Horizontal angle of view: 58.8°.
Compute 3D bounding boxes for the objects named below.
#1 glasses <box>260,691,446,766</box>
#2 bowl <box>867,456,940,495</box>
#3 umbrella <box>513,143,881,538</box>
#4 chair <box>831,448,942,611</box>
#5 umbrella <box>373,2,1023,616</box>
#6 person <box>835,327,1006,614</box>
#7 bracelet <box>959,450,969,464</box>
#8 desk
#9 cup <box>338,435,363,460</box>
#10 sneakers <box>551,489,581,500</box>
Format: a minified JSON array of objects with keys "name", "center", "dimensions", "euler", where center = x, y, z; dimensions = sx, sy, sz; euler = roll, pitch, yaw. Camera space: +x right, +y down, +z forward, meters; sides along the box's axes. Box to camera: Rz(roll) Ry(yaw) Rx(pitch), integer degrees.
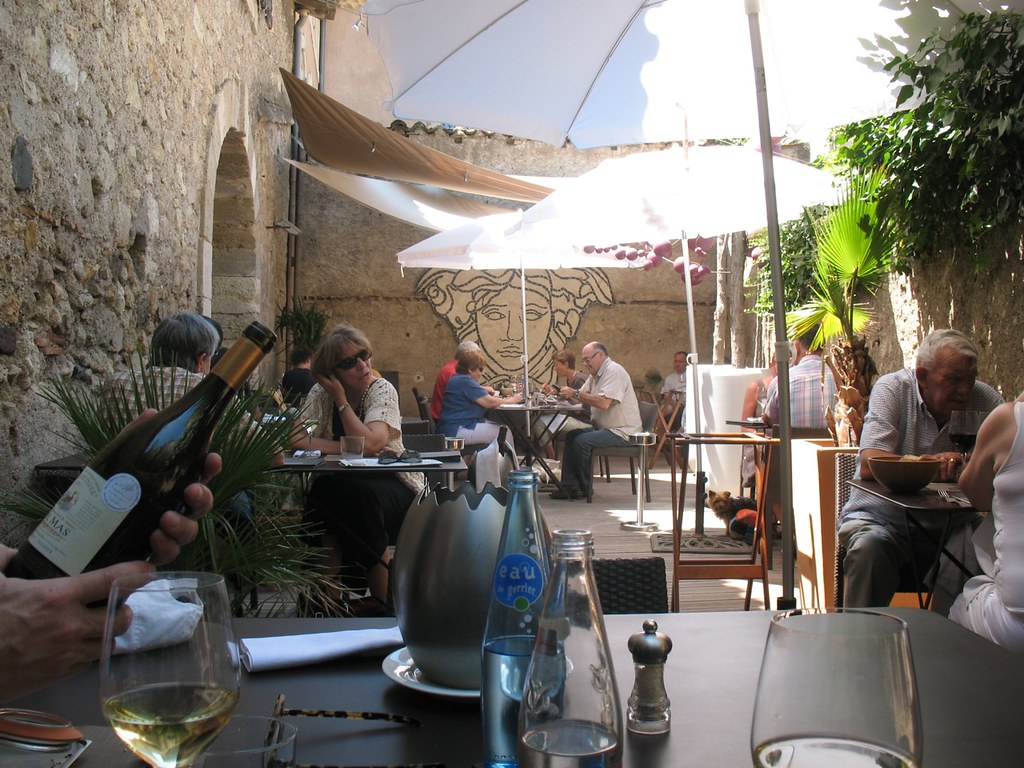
[{"name":"glasses","center":[-0.209,0.455,1.241],"dimensions":[0.218,0.085,0.214],"euler":[0,-1,-13]},{"name":"bowl","center":[1.311,0.306,3.047],"dimensions":[0.213,0.122,0.195],"euler":[0,-1,0]},{"name":"umbrella","center":[0.865,-0.451,5.014],"dimensions":[1.215,1.282,1.327],"euler":[-3,-7,-2]},{"name":"chair","center":[1.362,0.539,3.274],"dimensions":[0.318,0.584,0.549],"euler":[1,3,-5]},{"name":"umbrella","center":[0.565,-0.832,5.926],"dimensions":[2.879,3.034,2.983],"euler":[-2,-11,-4]},{"name":"person","center":[1.560,0.478,3.504],"dimensions":[0.482,1.369,0.754],"euler":[6,-5,28]},{"name":"bracelet","center":[1.504,0.246,3.029],"dimensions":[0.025,0.036,0.138],"euler":[11,1,15]},{"name":"desk","center":[1.543,0.756,3.482],"dimensions":[0.365,0.369,0.705],"euler":[-20,-22,13]},{"name":"cup","center":[-0.611,0.240,3.435],"dimensions":[0.074,0.084,0.072],"euler":[2,-5,0]},{"name":"sneakers","center":[0.426,0.891,7.271],"dimensions":[0.250,0.128,0.098],"euler":[0,0,-3]}]
